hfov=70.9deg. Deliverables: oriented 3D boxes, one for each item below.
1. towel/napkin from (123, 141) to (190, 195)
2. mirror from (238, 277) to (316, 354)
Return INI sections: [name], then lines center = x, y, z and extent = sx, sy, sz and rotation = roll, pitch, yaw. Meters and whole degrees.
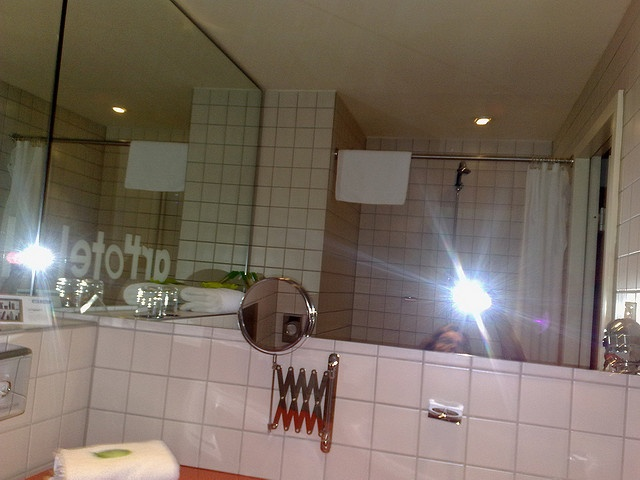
[towel/napkin]
center = -0.608, -0.272, 1.669
extent = 0.042, 0.185, 0.182
rotation = 11, 10, 39
[mirror]
center = -0.152, 0.266, 1.557
extent = 0.248, 0.278, 0.064
rotation = 4, 0, 11
